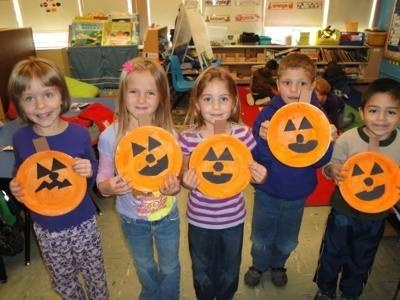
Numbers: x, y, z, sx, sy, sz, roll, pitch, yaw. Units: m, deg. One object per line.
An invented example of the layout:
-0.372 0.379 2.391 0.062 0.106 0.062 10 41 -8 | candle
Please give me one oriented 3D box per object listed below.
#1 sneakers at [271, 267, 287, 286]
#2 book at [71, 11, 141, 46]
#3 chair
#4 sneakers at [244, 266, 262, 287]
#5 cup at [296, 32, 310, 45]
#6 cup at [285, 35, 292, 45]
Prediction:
0.627 1.007 2.572 0.087 0.061 0.155 -2 36 8 | sneakers
-1.791 -2.215 6.015 1.288 0.580 0.785 -4 19 -7 | book
-0.196 -1.077 5.541 0.666 0.847 0.590 -1 16 -2 | chair
0.410 1.007 2.572 0.093 0.071 0.175 3 45 19 | sneakers
2.384 -2.570 7.512 0.252 0.275 0.250 -2 27 1 | cup
2.086 -2.565 7.613 0.142 0.217 0.346 15 25 40 | cup
